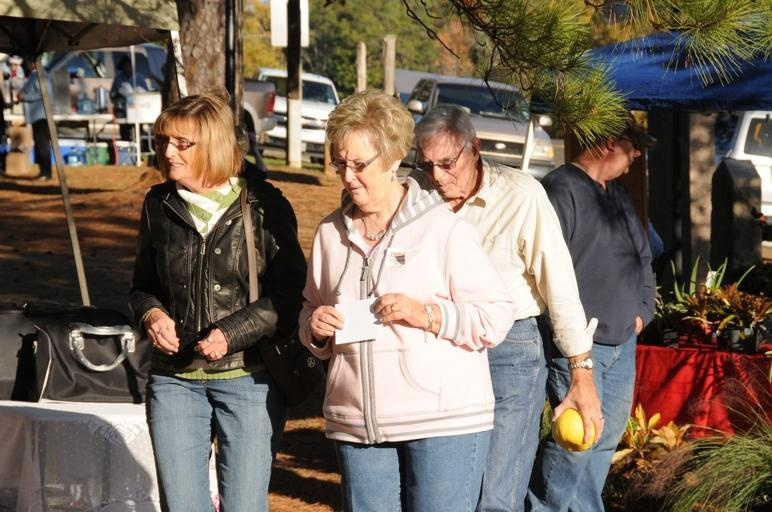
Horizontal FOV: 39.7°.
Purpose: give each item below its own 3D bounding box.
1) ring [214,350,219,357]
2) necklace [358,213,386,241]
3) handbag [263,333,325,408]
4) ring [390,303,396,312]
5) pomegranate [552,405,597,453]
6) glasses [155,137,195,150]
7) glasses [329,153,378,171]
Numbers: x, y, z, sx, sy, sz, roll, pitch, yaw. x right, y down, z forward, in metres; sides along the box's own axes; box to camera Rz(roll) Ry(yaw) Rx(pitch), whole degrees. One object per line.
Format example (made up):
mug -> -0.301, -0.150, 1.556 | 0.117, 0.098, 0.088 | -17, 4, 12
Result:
ring -> -1.082, 0.618, 6.817 | 0.039, 0.042, 0.011 | 2, 1, -12
necklace -> -0.089, -0.182, 6.659 | 0.109, 0.152, 0.053 | -13, -1, 17
handbag -> -0.609, 0.726, 6.946 | 0.307, 0.415, 0.215 | -45, 20, -30
ring -> 0.048, 0.310, 6.420 | 0.033, 0.066, 0.034 | -3, -3, 0
pomegranate -> 1.248, 1.157, 7.050 | 0.247, 0.270, 0.260 | 10, -28, 11
glasses -> -1.376, -0.741, 6.979 | 0.275, 0.087, 0.080 | 7, 9, 27
glasses -> -0.202, -0.579, 6.582 | 0.313, 0.119, 0.092 | 6, 9, 24
